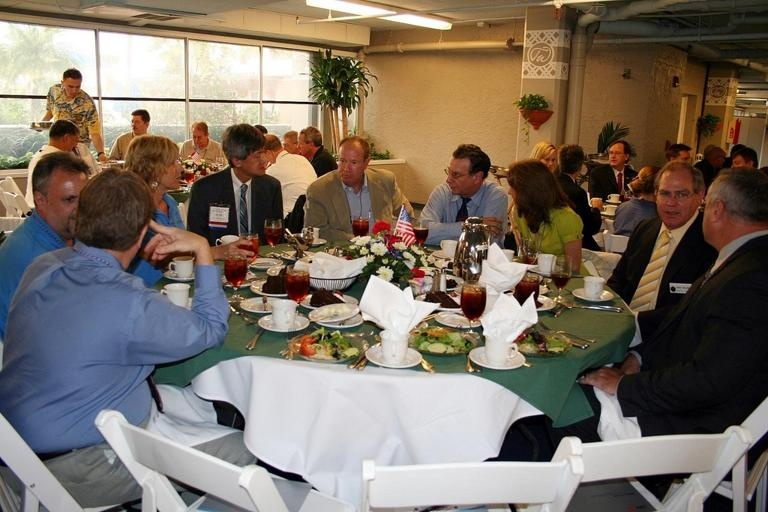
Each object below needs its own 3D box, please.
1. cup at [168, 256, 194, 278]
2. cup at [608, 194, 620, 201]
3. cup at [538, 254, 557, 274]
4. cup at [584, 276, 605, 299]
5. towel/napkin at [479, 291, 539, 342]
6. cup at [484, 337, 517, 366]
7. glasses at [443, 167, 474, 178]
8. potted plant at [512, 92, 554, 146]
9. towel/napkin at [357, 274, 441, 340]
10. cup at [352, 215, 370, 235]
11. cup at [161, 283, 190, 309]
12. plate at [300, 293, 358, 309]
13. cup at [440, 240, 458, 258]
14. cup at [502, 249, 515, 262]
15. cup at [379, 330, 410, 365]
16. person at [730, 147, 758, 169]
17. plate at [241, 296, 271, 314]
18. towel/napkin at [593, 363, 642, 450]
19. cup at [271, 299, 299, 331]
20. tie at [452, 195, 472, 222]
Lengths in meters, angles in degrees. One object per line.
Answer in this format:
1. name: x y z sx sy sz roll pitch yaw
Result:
1. cup: -1.074 0.062 2.744 0.146 0.099 0.116 -5 13 -17
2. cup: 2.839 -0.715 6.249 0.148 0.092 0.110 -3 8 15
3. cup: 0.937 0.046 2.911 0.124 0.099 0.109 -8 22 -13
4. cup: 1.085 0.164 2.652 0.114 0.094 0.115 0 -1 0
5. towel/napkin: 0.487 0.232 1.951 0.217 0.189 0.089 -1 -33 11
6. cup: 0.454 0.369 2.034 0.120 0.089 0.098 14 19 43
7. glasses: 0.558 -0.641 3.938 0.225 0.067 0.113 11 16 36
8. potted plant: 2.382 -2.289 8.368 0.592 0.696 0.686 3 12 3
9. towel/napkin: 0.048 0.197 1.943 0.261 0.244 0.084 31 -13 11
10. cup: -0.134 -0.182 3.133 0.150 0.153 0.142 1 8 0
11. cup: -0.913 0.169 2.297 0.153 0.113 0.120 -7 20 -23
12. plate: -0.271 0.221 2.442 0.138 0.021 0.132 -4 13 -26
13. cup: 0.415 -0.041 3.112 0.107 0.076 0.085 1 6 25
14. cup: 0.728 -0.002 2.954 0.081 0.055 0.079 1 2 0
15. cup: 0.049 0.352 2.014 0.119 0.101 0.131 3 16 6
16. person: 4.983 -1.374 6.998 0.291 0.257 1.037 10 16 33
17. plate: -0.601 0.234 2.407 0.098 0.015 0.095 -15 32 -35
18. towel/napkin: 1.035 0.699 2.267 0.246 0.279 0.103 1 -12 0
19. cup: -0.428 0.239 2.179 0.108 0.098 0.130 -12 27 -37
20. tie: 0.639 -0.374 4.136 0.094 0.329 0.050 7 -23 25
